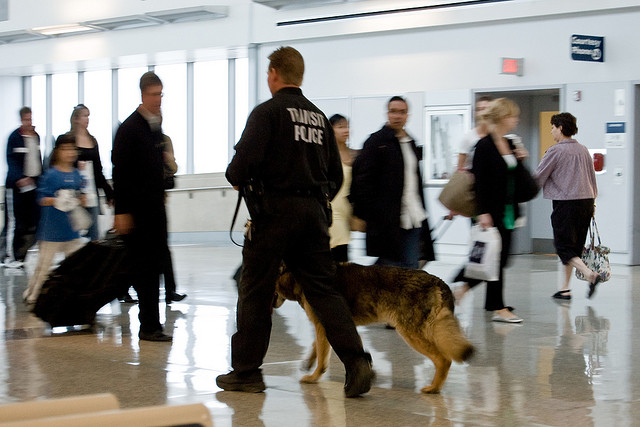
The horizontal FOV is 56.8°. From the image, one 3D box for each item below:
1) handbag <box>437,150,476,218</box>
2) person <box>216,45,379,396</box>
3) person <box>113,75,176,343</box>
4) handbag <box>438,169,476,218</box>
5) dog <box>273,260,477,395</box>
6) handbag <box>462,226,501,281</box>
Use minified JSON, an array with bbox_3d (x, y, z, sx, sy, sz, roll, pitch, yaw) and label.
[{"bbox_3d":[1.574,-0.312,6.432,0.321,0.503,0.430,-19,36,-17],"label":"handbag"},{"bbox_3d":[-0.206,0.044,4.114,0.999,2.439,0.384,0,1,-9],"label":"person"},{"bbox_3d":[-1.677,-0.040,5.574,0.537,2.533,0.265,0,1,-22],"label":"person"},{"bbox_3d":[1.514,-0.218,6.380,0.431,0.503,0.281,1,1,31],"label":"handbag"},{"bbox_3d":[0.343,0.850,4.503,1.804,0.903,0.522,-5,-12,39],"label":"dog"},{"bbox_3d":[1.683,0.410,6.151,0.374,0.553,0.242,0,1,14],"label":"handbag"}]
